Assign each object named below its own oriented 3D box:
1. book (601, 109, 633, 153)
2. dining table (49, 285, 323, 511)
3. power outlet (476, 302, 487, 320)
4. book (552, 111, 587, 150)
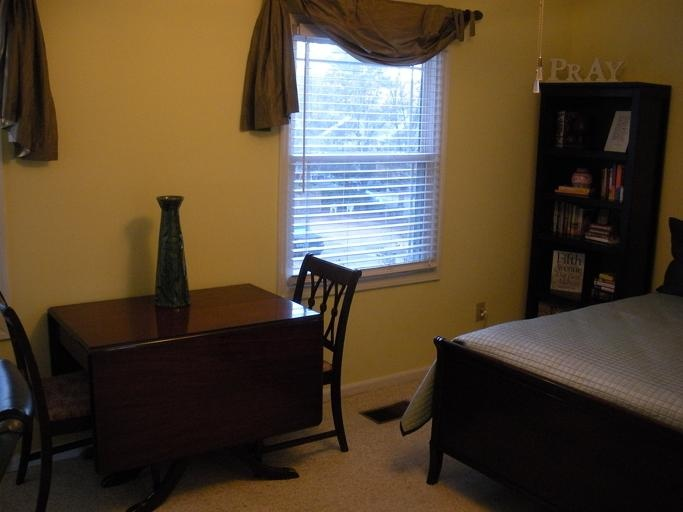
[{"bbox_3d":[1.864,-0.844,3.945,0.132,0.256,0.257,4,16,21],"label":"book"},{"bbox_3d":[-0.773,0.333,2.945,1.146,0.919,0.934,-8,19,-28],"label":"dining table"},{"bbox_3d":[1.006,0.397,4.217,0.108,0.119,0.054,-6,10,-36],"label":"power outlet"},{"bbox_3d":[1.592,-0.877,4.063,0.265,0.303,0.162,-6,12,-27],"label":"book"}]
